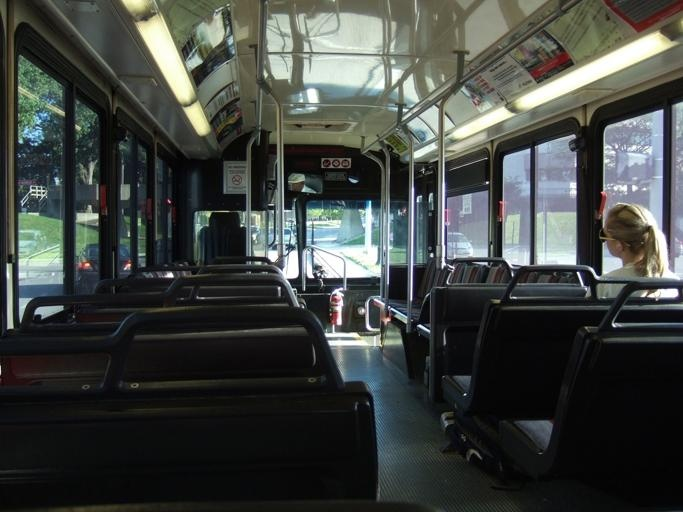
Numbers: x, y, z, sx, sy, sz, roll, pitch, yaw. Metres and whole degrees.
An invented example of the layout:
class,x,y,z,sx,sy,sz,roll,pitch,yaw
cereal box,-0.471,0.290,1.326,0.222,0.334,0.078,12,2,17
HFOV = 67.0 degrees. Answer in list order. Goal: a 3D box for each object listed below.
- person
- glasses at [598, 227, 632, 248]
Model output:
class,x,y,z,sx,sy,sz,roll,pitch,yaw
person,2.157,-0.049,3.784,0.729,0.734,0.541,-3,7,-5
glasses,2.023,-0.141,3.789,0.168,0.073,0.192,14,0,-40
